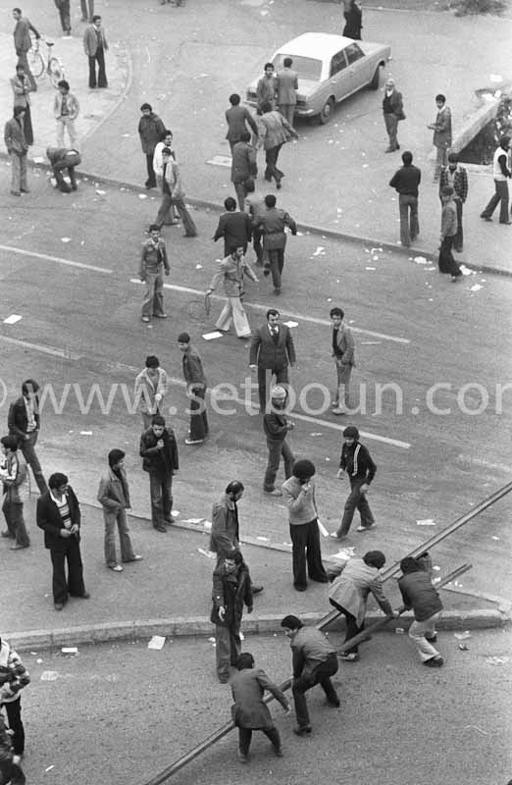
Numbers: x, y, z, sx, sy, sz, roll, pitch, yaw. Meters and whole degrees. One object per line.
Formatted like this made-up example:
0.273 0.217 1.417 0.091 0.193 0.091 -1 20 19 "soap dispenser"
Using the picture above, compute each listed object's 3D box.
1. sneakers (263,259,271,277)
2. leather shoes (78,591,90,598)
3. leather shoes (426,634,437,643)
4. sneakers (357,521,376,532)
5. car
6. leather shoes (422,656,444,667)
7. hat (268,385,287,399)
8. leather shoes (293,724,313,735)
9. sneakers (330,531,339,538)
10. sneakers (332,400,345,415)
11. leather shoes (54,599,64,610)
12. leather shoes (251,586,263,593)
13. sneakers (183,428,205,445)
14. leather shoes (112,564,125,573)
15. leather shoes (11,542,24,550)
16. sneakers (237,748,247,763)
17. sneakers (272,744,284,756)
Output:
0.169 -1.919 27.983 0.075 0.243 0.160 0 29 -3 "sneakers"
-1.878 2.201 19.973 0.113 0.058 0.122 -11 -29 -9 "leather shoes"
1.846 2.582 19.307 0.087 0.082 0.127 7 -18 26 "leather shoes"
1.300 1.558 21.552 0.230 0.200 0.092 -1 4 5 "sneakers"
1.351 -6.190 35.649 1.339 1.221 3.304 17 46 23 "car"
1.848 2.771 19.064 0.177 0.151 0.104 8 20 14 "leather shoes"
0.267 -0.015 22.024 0.162 0.142 0.399 -3 12 -3 "hat"
0.469 3.340 18.172 0.146 0.125 0.084 6 10 24 "leather shoes"
0.904 1.640 21.354 0.070 0.080 0.150 -5 12 -16 "sneakers"
1.107 0.209 24.254 0.167 0.205 0.096 4 0 16 "sneakers"
-2.118 2.286 19.741 0.111 0.085 0.111 -5 11 -14 "leather shoes"
0.011 2.160 20.196 0.127 0.053 0.101 -14 -24 -1 "leather shoes"
-0.797 0.538 23.717 0.300 0.257 0.122 14 24 24 "sneakers"
-1.542 1.962 20.553 0.138 0.066 0.108 -9 13 -30 "leather shoes"
-2.724 1.735 20.905 0.139 0.077 0.062 8 9 -11 "leather shoes"
-0.124 3.522 17.811 0.054 0.083 0.134 0 42 -7 "sneakers"
0.215 3.486 17.915 0.046 0.124 0.149 -7 4 -29 "sneakers"
